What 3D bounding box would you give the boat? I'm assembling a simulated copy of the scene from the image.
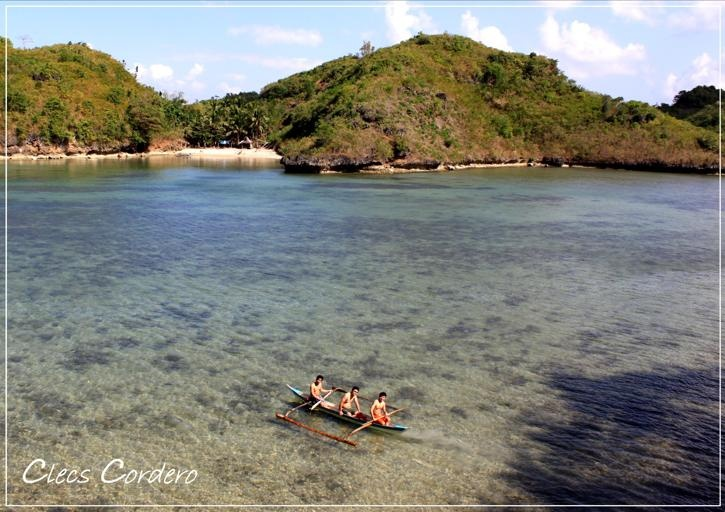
[{"bbox_3d":[-0.528,5.140,17.493,3.991,0.594,0.603,10,53,15],"label":"boat"}]
